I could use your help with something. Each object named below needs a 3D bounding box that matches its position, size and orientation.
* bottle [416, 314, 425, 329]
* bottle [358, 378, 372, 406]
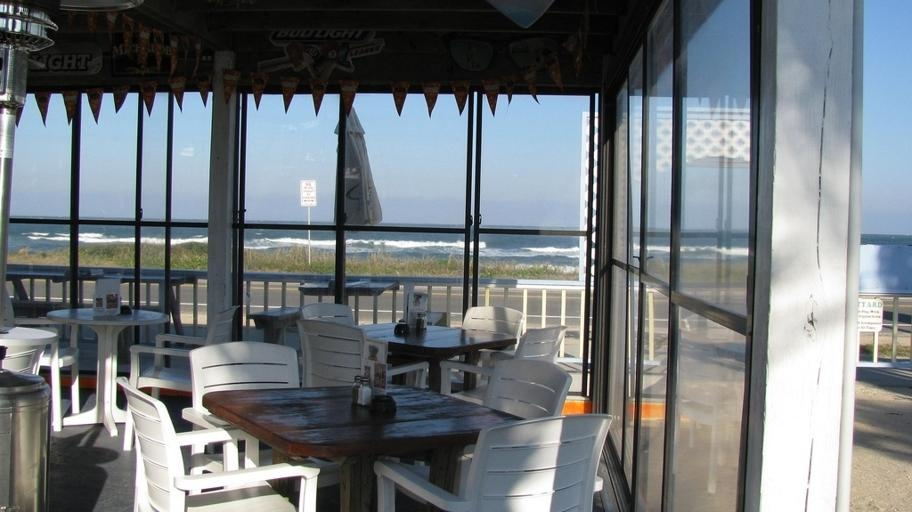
[{"bbox_3d":[-0.304,0.566,6.590,0.069,0.119,0.120,1,0,8],"label":"bottle"},{"bbox_3d":[-0.540,0.802,4.543,0.083,0.154,0.091,-3,3,0],"label":"bottle"}]
